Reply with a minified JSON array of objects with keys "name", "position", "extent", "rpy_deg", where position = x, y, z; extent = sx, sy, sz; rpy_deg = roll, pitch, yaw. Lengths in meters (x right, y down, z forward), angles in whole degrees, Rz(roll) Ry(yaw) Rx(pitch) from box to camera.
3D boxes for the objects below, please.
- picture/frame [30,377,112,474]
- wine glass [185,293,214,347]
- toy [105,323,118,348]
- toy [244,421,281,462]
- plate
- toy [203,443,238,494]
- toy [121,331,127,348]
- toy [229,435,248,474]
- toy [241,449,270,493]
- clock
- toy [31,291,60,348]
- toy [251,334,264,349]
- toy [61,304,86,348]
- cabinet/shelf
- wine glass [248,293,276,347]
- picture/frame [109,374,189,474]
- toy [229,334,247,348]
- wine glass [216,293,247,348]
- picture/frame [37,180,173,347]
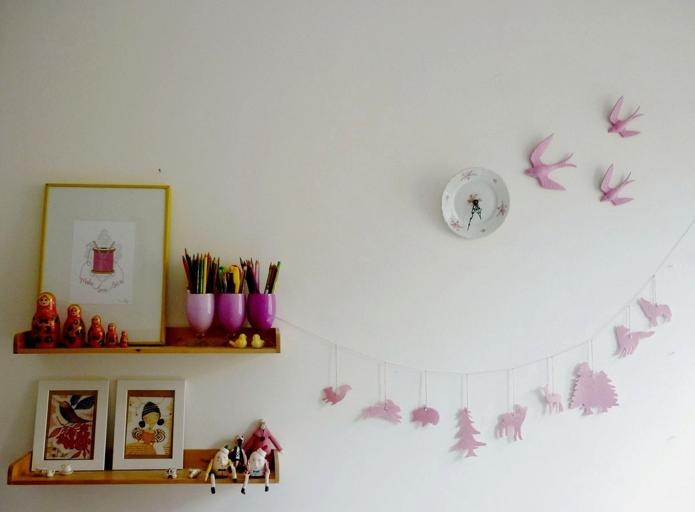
[{"name":"picture/frame","position":[-1.051,0.651,2.622],"extent":[0.303,0.420,0.028],"rpy_deg":[0,-12,-3]},{"name":"wine glass","position":[-0.554,0.227,2.640],"extent":[0.110,0.199,0.112],"rpy_deg":[19,24,40]},{"name":"toy","position":[-0.875,0.300,2.592],"extent":[0.046,0.093,0.048],"rpy_deg":[10,-18,-29]},{"name":"toy","position":[-0.325,0.710,2.679],"extent":[0.137,0.141,0.057],"rpy_deg":[2,-13,-7]},{"name":"plate","position":[0.512,-0.205,2.804],"extent":[0.257,0.299,0.038],"rpy_deg":[-1,-3,-8]},{"name":"toy","position":[-0.474,0.784,2.588],"extent":[0.099,0.166,0.108],"rpy_deg":[12,9,44]},{"name":"toy","position":[-0.833,0.313,2.597],"extent":[0.031,0.068,0.051],"rpy_deg":[6,-17,-18]},{"name":"toy","position":[-0.409,0.744,2.627],"extent":[0.076,0.138,0.056],"rpy_deg":[2,7,15]},{"name":"toy","position":[-0.350,0.795,2.582],"extent":[0.090,0.173,0.088],"rpy_deg":[2,-14,-6]},{"name":"clock","position":[0.511,-0.215,2.805],"extent":[0.258,0.299,0.038],"rpy_deg":[1,-4,-8]},{"name":"toy","position":[-1.105,0.243,2.564],"extent":[0.099,0.194,0.062],"rpy_deg":[8,-17,-25]},{"name":"toy","position":[-0.336,0.321,2.599],"extent":[0.042,0.047,0.046],"rpy_deg":[2,-13,-24]},{"name":"toy","position":[-1.015,0.263,2.588],"extent":[0.087,0.170,0.085],"rpy_deg":[5,-17,-16]},{"name":"cabinet/shelf","position":[-0.749,0.556,2.609],"extent":[0.995,0.591,0.243],"rpy_deg":[2,-16,-3]},{"name":"wine glass","position":[-0.327,0.223,2.660],"extent":[0.100,0.180,0.114],"rpy_deg":[-3,-7,34]},{"name":"picture/frame","position":[-0.755,0.648,2.651],"extent":[0.237,0.348,0.024],"rpy_deg":[3,-34,-15]},{"name":"toy","position":[-0.408,0.320,2.602],"extent":[0.055,0.048,0.044],"rpy_deg":[-7,-12,16]},{"name":"wine glass","position":[-0.443,0.219,2.654],"extent":[0.102,0.186,0.117],"rpy_deg":[2,10,3]},{"name":"picture/frame","position":[-0.936,0.048,2.635],"extent":[0.544,0.761,0.049],"rpy_deg":[0,-9,-6]}]
